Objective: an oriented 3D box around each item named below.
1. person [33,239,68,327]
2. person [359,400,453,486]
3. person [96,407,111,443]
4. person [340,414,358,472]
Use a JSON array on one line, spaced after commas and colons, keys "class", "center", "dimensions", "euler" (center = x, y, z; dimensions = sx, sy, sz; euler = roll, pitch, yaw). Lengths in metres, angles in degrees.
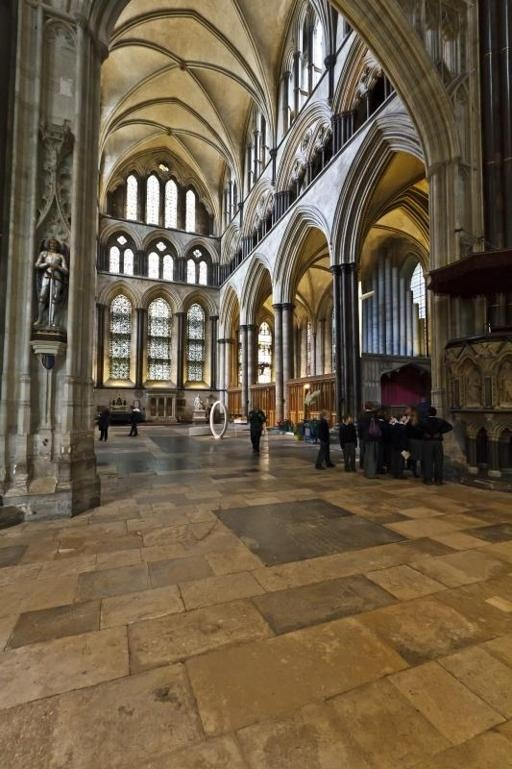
[{"class": "person", "center": [-2.130, -1.038, 5.350], "dimensions": [0.323, 0.932, 0.207], "euler": [0, 0, -23]}, {"class": "person", "center": [1.972, 0.858, 7.197], "dimensions": [0.982, 1.415, 0.954], "euler": [1, 3, 0]}, {"class": "person", "center": [-4.205, 1.121, 14.122], "dimensions": [0.261, 0.857, 1.327], "euler": [0, 0, -19]}, {"class": "person", "center": [1.423, 0.913, 7.931], "dimensions": [0.235, 0.901, 0.892], "euler": [0, 0, 9]}]
